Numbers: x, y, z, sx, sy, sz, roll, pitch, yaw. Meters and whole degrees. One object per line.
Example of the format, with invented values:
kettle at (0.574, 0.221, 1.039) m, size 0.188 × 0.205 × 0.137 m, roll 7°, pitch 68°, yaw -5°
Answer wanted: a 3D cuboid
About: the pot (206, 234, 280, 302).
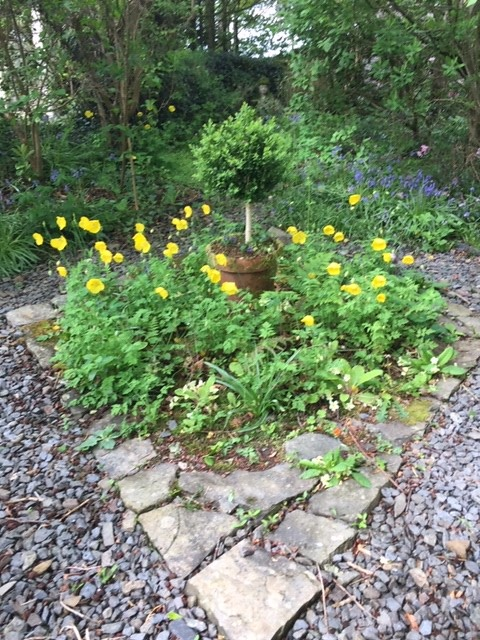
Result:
pot at (0.028, -0.305, 3.098) m, size 0.397 × 0.266 × 0.377 m, roll 0°, pitch 33°, yaw 0°
